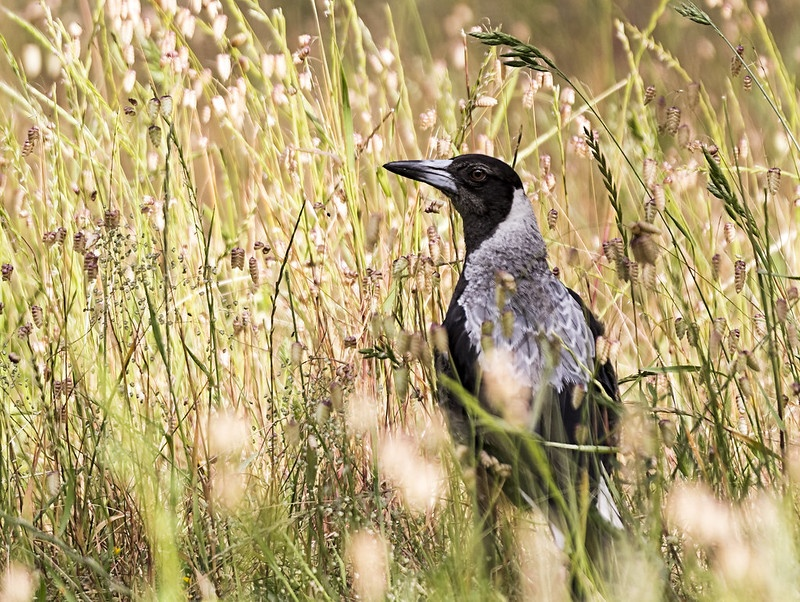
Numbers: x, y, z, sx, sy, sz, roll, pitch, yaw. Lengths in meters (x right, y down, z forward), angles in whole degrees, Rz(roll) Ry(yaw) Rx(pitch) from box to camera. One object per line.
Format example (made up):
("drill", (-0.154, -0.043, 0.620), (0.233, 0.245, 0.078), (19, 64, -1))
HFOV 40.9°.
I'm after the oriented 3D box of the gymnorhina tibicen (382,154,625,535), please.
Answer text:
("gymnorhina tibicen", (0.513, 0.130, 4.657), (1.150, 1.677, 1.019), (-5, -8, 43))
